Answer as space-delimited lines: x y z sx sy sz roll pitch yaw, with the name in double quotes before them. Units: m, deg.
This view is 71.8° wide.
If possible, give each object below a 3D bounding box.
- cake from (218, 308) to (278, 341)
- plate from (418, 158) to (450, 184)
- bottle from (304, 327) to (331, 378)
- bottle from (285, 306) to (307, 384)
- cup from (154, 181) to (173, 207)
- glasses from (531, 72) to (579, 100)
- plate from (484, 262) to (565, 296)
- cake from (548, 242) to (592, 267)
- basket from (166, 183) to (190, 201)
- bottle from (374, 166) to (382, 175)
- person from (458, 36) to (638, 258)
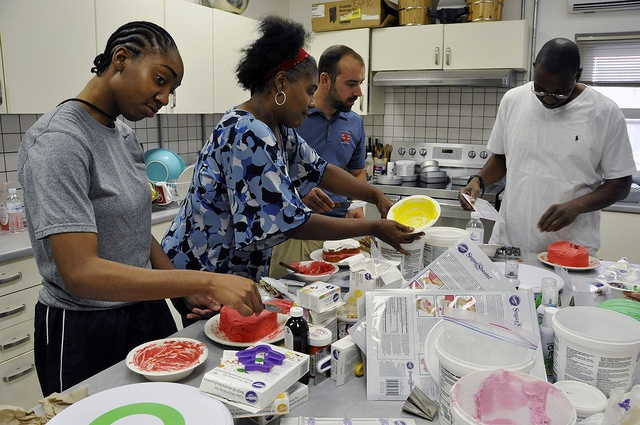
"cake" -0.252 0.391 1.542 0.205 0.093 0.108 -2 15 -6
"plate" 1.065 -0.404 4.183 0.233 0.221 0.228 -16 16 -43
"bottle" -0.005 0.451 1.421 0.076 0.131 0.098 3 16 13
"bottle" -0.073 0.377 1.393 0.077 0.148 0.057 -2 16 -5
"cup" -1.130 -0.140 3.185 0.154 0.156 0.106 4 16 22
"glasses" 1.253 -0.685 2.382 0.203 0.187 0.146 4 16 16
"plate" 0.925 0.273 1.950 0.220 0.010 0.225 15 24 39
"cake" 1.183 0.201 2.141 0.171 0.075 0.199 -5 16 -16
"basket" -1.033 -0.166 3.232 0.172 0.180 0.042 1 5 -4
"bottle" 0.586 -0.432 4.493 0.089 0.119 0.062 -3 20 9
"person" 1.322 -0.344 2.507 0.812 1.218 0.492 9 18 30
